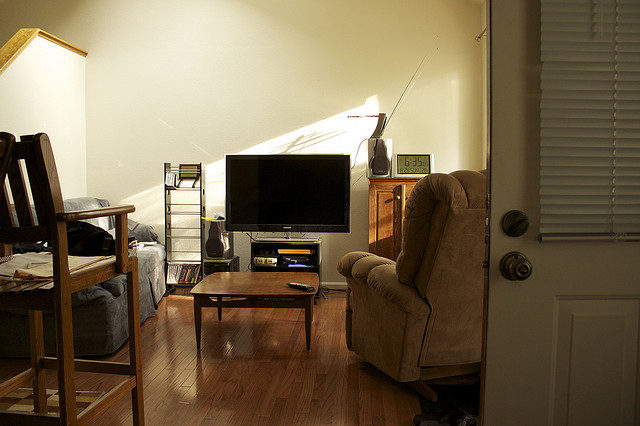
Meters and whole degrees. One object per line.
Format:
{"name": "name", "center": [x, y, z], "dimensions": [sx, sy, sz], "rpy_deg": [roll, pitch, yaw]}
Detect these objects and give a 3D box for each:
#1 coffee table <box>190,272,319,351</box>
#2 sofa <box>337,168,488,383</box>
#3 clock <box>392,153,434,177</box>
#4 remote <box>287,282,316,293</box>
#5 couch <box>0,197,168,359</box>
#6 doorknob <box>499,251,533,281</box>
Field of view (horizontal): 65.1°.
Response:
{"name": "coffee table", "center": [-0.481, 0.684, 4.061], "dimensions": [0.966, 0.513, 0.822], "rpy_deg": [1, 5, 0]}
{"name": "sofa", "center": [0.663, 0.400, 3.553], "dimensions": [1.232, 1.215, 1.152], "rpy_deg": [0, 1, 31]}
{"name": "clock", "center": [0.892, -0.457, 4.852], "dimensions": [0.386, 0.240, 0.064], "rpy_deg": [0, -8, -2]}
{"name": "remote", "center": [-0.146, 0.545, 3.815], "dimensions": [0.261, 0.054, 0.071], "rpy_deg": [6, 8, 38]}
{"name": "couch", "center": [-1.494, 0.469, 3.153], "dimensions": [0.464, 0.435, 1.162], "rpy_deg": [1, 9, -14]}
{"name": "doorknob", "center": [0.815, 0.231, 2.033], "dimensions": [0.103, 0.104, 0.059], "rpy_deg": [1, 5, 11]}
